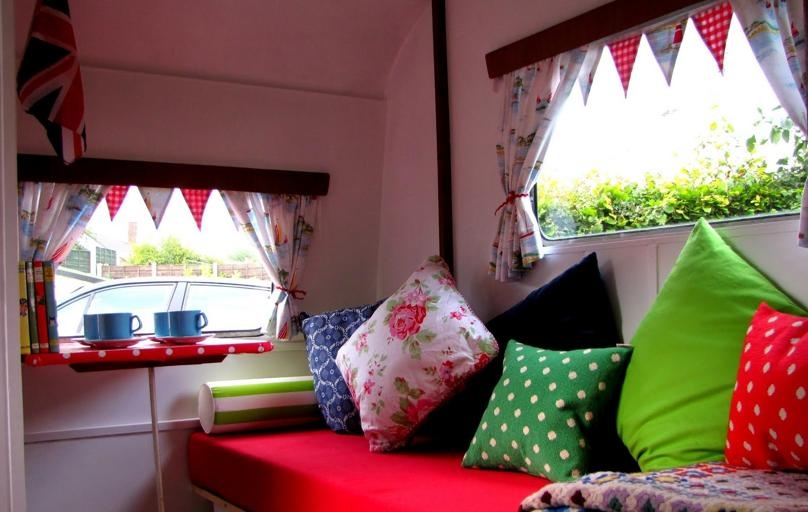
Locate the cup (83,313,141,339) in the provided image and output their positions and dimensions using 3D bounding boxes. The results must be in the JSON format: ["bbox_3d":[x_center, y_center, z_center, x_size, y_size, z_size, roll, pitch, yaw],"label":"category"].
[{"bbox_3d":[-1.548,0.358,2.832,0.246,0.155,0.157,0,-5,-10],"label":"cup"}]

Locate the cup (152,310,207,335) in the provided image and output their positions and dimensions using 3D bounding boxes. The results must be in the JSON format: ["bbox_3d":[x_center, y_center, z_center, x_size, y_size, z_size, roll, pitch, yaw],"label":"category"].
[{"bbox_3d":[-1.265,0.365,2.997,0.209,0.111,0.157,0,-5,0],"label":"cup"}]

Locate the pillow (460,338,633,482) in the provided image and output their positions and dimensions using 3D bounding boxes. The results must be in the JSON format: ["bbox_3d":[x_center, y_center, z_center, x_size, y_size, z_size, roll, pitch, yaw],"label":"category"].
[{"bbox_3d":[0.577,0.623,2.139,0.178,0.569,0.582,39,-29,-30],"label":"pillow"}]

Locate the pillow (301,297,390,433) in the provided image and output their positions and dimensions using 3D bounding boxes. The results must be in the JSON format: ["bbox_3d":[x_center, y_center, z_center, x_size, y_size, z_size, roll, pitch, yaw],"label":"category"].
[{"bbox_3d":[-0.440,0.657,3.286,0.239,0.912,0.894,-5,27,-18],"label":"pillow"}]

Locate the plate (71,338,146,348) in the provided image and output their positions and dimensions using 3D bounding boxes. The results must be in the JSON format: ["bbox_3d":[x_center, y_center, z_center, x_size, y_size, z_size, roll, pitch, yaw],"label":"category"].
[{"bbox_3d":[-1.591,0.465,2.834,0.362,0.049,0.199,-4,-5,5],"label":"plate"}]
